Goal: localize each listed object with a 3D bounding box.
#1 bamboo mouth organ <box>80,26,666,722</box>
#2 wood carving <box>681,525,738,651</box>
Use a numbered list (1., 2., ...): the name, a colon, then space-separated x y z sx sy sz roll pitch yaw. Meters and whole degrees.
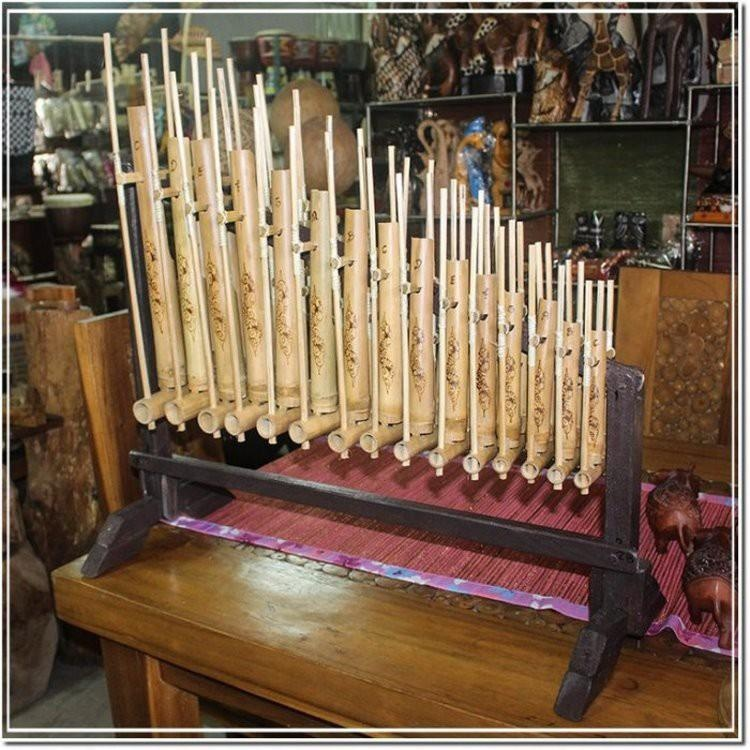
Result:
1. bamboo mouth organ: -0.019 -0.014 1.113 0.839 0.764 0.404 5 12 20
2. wood carving: 0.468 0.289 1.003 0.067 0.106 0.165 5 15 25
